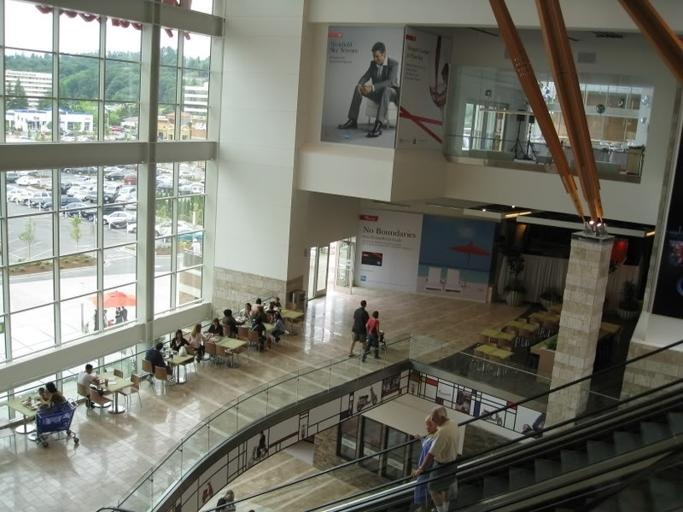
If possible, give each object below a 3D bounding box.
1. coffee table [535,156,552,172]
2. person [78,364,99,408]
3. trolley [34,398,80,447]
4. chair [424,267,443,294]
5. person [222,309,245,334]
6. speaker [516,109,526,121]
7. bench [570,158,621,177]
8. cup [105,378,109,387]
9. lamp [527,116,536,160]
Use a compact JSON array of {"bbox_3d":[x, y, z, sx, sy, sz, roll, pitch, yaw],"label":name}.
[{"bbox_3d":[7.736,-3.553,22.249,0.594,0.699,0.505,-22,31,-40],"label":"coffee table"},{"bbox_3d":[-7.099,3.651,16.339,0.742,1.315,0.402,10,17,29],"label":"person"},{"bbox_3d":[-7.429,4.286,15.042,1.186,1.127,0.720,9,-5,-42],"label":"trolley"},{"bbox_3d":[4.317,1.089,27.216,0.854,1.027,1.165,4,15,8],"label":"chair"},{"bbox_3d":[-3.900,2.177,20.304,0.815,0.956,0.725,-6,18,-23],"label":"person"},{"bbox_3d":[6.790,-5.303,22.012,0.483,0.339,0.380,2,9,16],"label":"speaker"},{"bbox_3d":[8.298,-2.869,18.800,1.023,0.421,0.719,13,31,35],"label":"bench"},{"bbox_3d":[-6.566,3.512,16.263,0.131,0.231,0.129,4,6,0],"label":"cup"},{"bbox_3d":[7.201,-4.519,22.060,0.372,1.633,0.256,-7,17,-29],"label":"lamp"}]
